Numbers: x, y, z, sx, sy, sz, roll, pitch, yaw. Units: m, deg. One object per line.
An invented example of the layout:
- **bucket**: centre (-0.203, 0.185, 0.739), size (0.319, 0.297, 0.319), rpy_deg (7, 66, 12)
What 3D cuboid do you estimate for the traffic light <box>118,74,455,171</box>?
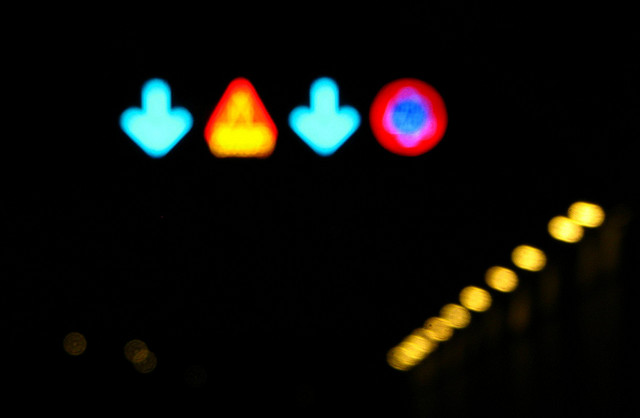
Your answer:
- **traffic light**: centre (-0.239, -0.628, 5.686), size (2.398, 0.692, 0.031), rpy_deg (0, 1, 1)
